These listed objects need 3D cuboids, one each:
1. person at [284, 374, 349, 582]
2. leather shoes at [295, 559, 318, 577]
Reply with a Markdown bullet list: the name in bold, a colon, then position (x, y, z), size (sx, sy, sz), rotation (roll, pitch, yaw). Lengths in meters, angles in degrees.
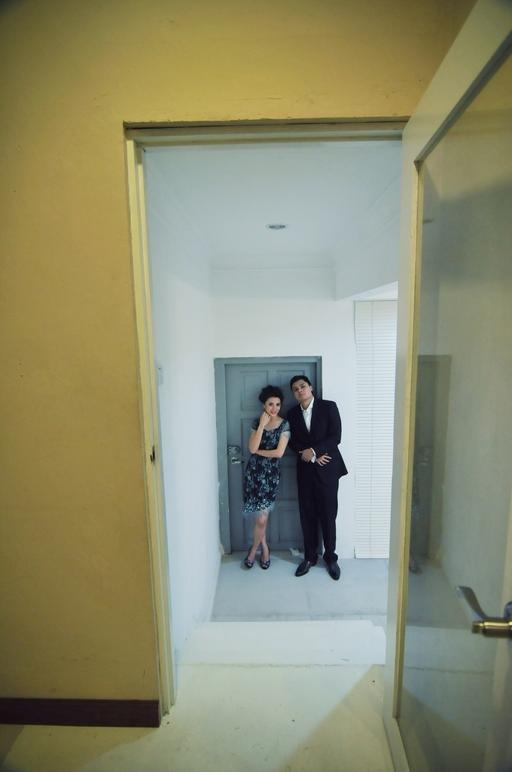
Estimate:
- **person**: position (0.353, 0.556, 3.581), size (0.346, 1.223, 0.328), rotation (0, 4, 19)
- **leather shoes**: position (0.308, 1.110, 3.654), size (0.056, 0.083, 0.177), rotation (3, 6, 35)
